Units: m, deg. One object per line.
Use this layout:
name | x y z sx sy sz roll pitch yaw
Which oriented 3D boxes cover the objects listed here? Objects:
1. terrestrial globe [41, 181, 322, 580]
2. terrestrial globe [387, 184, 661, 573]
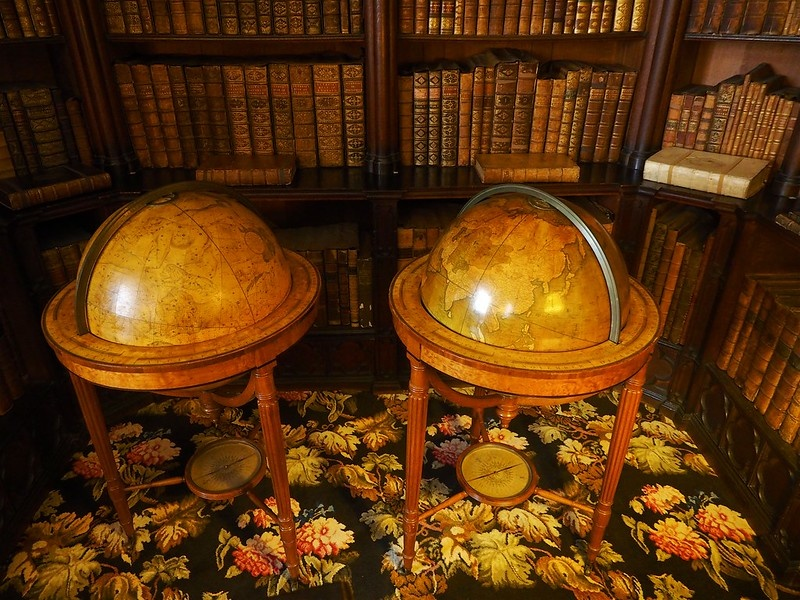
terrestrial globe | -0.870 0.391 2.255 1.062 1.732 0.603 -1 20 -9
terrestrial globe | 0.447 0.406 2.231 1.059 1.739 0.680 7 20 15
